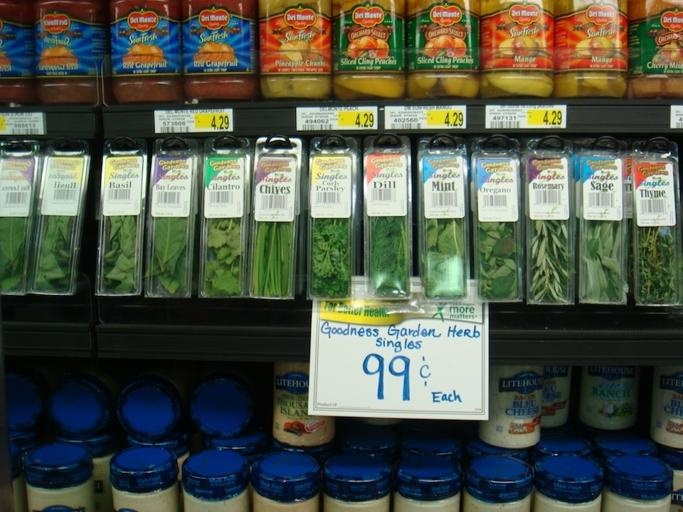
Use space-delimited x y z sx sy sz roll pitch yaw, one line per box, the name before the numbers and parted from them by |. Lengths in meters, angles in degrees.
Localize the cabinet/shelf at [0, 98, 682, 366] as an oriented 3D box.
cabinet/shelf | -0.036 -0.074 1.858 2.059 0.824 0.269 -3 6 2
